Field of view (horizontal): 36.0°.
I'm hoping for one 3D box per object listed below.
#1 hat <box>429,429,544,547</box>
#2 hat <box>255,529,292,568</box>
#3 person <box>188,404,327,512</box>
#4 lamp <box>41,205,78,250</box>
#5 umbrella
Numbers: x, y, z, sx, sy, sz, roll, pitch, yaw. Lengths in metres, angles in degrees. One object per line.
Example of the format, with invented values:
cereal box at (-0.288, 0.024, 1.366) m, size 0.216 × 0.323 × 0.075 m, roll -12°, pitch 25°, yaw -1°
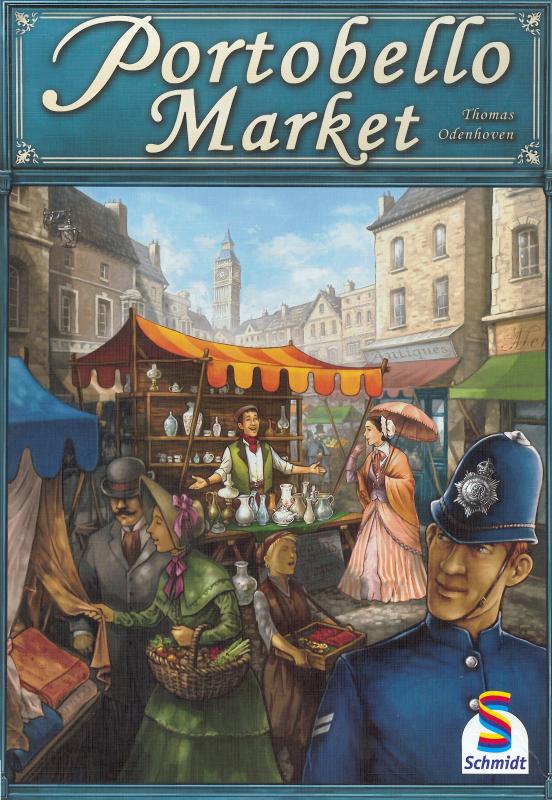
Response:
hat at (1.447, 0.607, 6.041) m, size 0.618 × 0.656 × 0.822 m, roll 23°, pitch 10°, yaw 39°
hat at (-0.033, 1.066, 6.139) m, size 0.203 × 0.239 × 0.118 m, roll 20°, pitch -22°, yaw 3°
person at (-0.174, 0.468, 6.553) m, size 0.790 × 0.769 × 0.270 m, roll -1°, pitch -14°, yaw -21°
lamp at (-1.561, -1.254, 6.172) m, size 0.254 × 0.260 × 0.112 m, roll -4°, pitch 3°, yaw -33°
umbrella at (0.883, 0.331, 6.517) m, size 0.471 × 0.449 × 0.465 m, roll 26°, pitch -22°, yaw 1°
